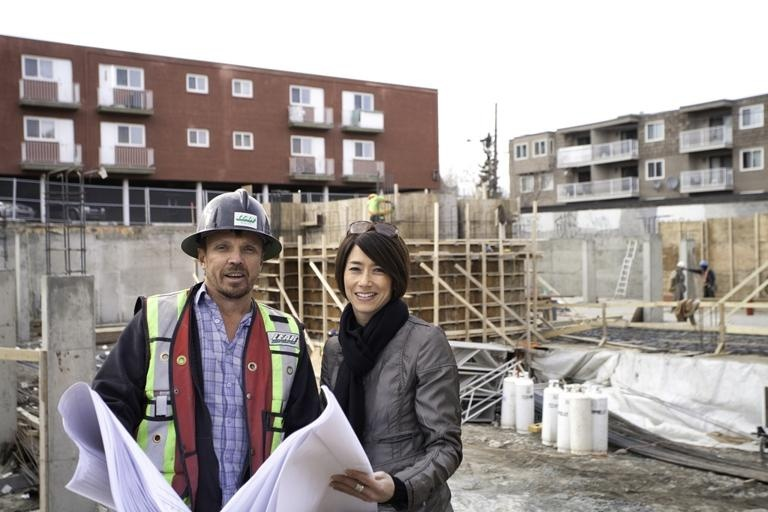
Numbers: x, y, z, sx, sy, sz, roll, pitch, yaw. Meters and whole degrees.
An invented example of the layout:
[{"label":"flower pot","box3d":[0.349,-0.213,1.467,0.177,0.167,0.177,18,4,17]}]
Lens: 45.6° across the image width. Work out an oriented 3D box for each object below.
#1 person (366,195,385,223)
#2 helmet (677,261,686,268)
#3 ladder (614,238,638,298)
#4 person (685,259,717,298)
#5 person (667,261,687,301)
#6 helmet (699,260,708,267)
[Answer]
[{"label":"person","box3d":[-0.207,-1.527,29.138,0.580,0.743,1.161,-2,-1,-1]},{"label":"helmet","box3d":[11.713,0.347,35.874,0.193,0.235,0.246,9,25,25]},{"label":"ladder","box3d":[11.677,0.599,43.857,1.372,2.780,0.701,-1,-1,-40]},{"label":"person","box3d":[12.846,0.902,36.886,1.001,1.467,3.439,-2,-1,19]},{"label":"person","box3d":[11.053,0.954,34.311,0.445,1.424,1.507,-2,-1,15]},{"label":"helmet","box3d":[12.981,0.330,37.037,0.215,0.242,0.308,4,13,22]}]
